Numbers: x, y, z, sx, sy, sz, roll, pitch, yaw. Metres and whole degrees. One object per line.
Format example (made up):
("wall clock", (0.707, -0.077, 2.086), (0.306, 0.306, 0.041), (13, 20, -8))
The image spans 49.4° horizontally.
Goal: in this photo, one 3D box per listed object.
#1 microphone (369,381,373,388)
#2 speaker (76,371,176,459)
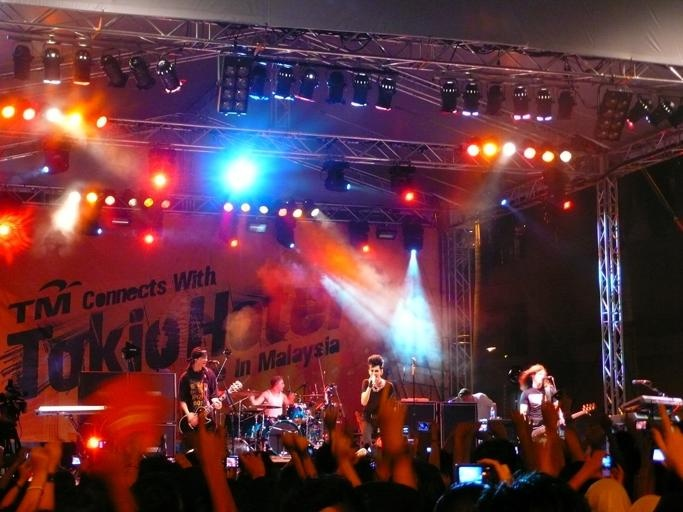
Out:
("microphone", (0.452, 2.010, 11.565), (0.064, 0.107, 0.078), (0, -9, -6))
("speaker", (-3.033, 2.217, 10.343), (1.725, 1.551, 0.590), (0, -11, -11))
